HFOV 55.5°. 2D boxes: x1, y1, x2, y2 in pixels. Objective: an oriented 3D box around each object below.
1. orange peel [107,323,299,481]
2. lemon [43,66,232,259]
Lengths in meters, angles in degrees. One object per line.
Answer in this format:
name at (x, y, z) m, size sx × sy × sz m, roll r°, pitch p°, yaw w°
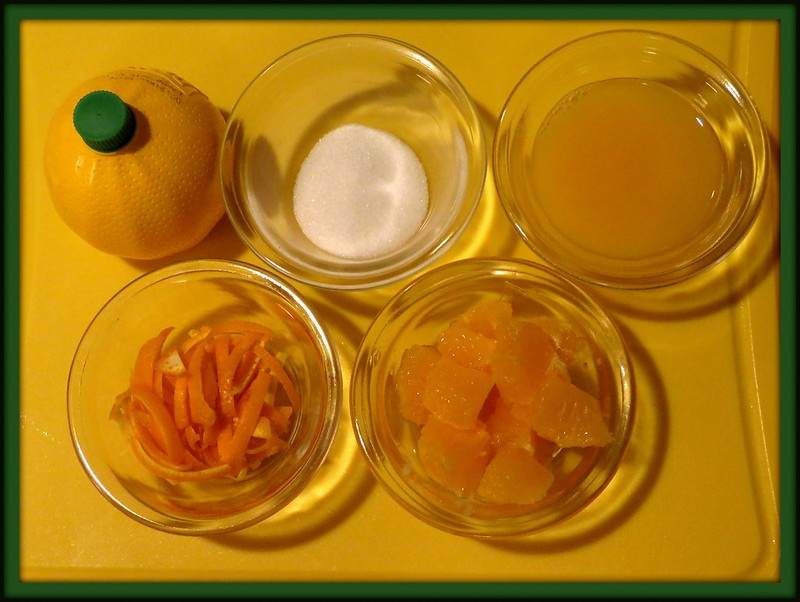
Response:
orange peel at (-0.457, 0.218, 1.808) m, size 0.427 × 0.231 × 0.373 m, roll 19°, pitch -78°, yaw -2°
lemon at (-0.625, -0.315, 1.798) m, size 0.423 × 0.246 × 0.448 m, roll -11°, pitch -79°, yaw 4°
